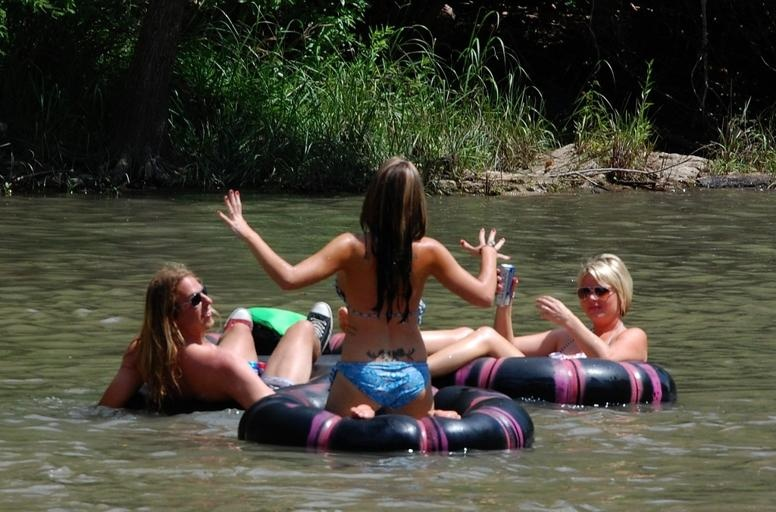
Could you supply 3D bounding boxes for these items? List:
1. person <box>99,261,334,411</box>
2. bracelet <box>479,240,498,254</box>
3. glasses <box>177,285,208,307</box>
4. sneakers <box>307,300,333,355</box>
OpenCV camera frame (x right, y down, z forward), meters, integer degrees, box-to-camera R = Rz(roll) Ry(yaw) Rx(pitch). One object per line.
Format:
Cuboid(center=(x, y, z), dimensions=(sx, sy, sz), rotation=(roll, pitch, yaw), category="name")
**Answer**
Cuboid(center=(-1.113, 0.576, 7.161), dimensions=(0.976, 0.611, 1.373), rotation=(12, 26, 25), category="person")
Cuboid(center=(0.706, -0.061, 6.867), dimensions=(0.054, 0.048, 0.184), rotation=(45, -1, 10), category="bracelet")
Cuboid(center=(-1.347, 0.289, 6.823), dimensions=(0.108, 0.146, 0.261), rotation=(3, 3, 41), category="glasses")
Cuboid(center=(-0.561, 0.574, 7.924), dimensions=(0.161, 0.458, 0.168), rotation=(14, 33, 13), category="sneakers")
